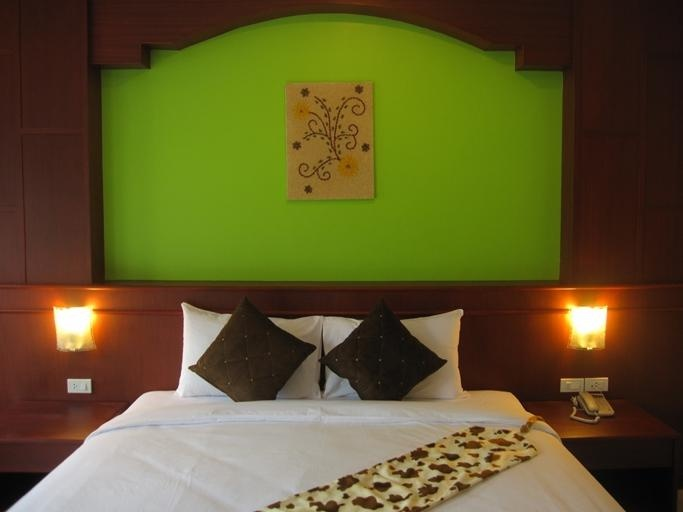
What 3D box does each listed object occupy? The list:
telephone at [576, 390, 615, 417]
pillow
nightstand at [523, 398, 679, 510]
[{"bbox_3d":[1.716,0.994,4.103,0.148,0.064,0.169,-2,24,10],"label":"telephone"},{"bbox_3d":[-0.122,0.628,4.085,1.884,0.672,0.354,-2,-4,3],"label":"pillow"},{"bbox_3d":[1.813,1.128,4.114,0.842,0.695,0.625,0,2,4],"label":"nightstand"}]
